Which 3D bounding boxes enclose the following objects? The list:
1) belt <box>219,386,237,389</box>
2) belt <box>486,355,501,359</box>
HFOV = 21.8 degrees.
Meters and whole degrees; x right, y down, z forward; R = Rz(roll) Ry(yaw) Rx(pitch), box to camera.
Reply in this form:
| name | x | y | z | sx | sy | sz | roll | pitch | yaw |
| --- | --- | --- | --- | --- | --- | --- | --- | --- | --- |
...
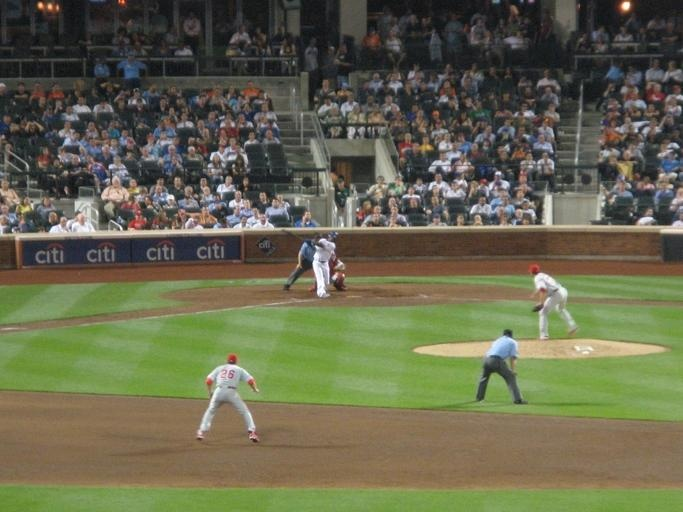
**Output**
| name | x | y | z | sx | sy | sz | roll | pitch | yaw |
| --- | --- | --- | --- | --- | --- | --- | --- | --- | --- |
| belt | -2.882 | 3.172 | 44.232 | 0.365 | 0.097 | 0.078 | -1 | 9 | -3 |
| belt | 3.940 | 2.532 | 46.298 | 0.329 | 0.097 | 0.073 | 0 | 9 | 3 |
